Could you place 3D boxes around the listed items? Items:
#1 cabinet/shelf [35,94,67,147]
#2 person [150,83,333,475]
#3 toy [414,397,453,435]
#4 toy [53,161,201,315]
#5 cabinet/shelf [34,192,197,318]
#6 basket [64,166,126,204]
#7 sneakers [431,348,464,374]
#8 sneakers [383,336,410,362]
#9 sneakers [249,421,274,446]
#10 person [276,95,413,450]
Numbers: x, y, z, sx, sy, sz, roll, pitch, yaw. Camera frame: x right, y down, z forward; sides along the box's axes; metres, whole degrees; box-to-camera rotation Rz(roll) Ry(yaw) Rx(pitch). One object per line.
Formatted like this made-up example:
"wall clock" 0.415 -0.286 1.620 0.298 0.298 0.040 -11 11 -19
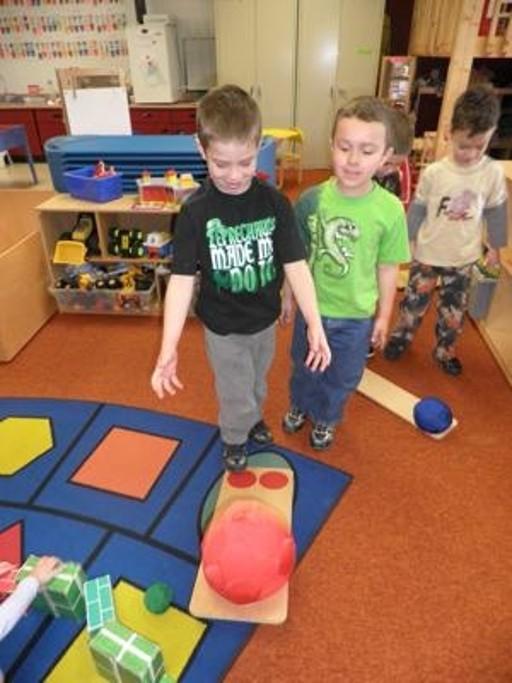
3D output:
"cabinet/shelf" -2.422 -2.574 5.869 0.328 0.493 0.590 -14 36 -19
"person" -0.067 -0.061 1.399 0.494 1.159 0.326 -11 34 -15
"toy" 0.681 0.299 1.919 0.147 0.134 0.111 17 37 25
"toy" -0.659 -0.529 2.446 0.765 0.555 0.416 1 37 1
"cabinet/shelf" -0.766 -0.467 2.713 0.686 0.625 0.242 3 34 10
"basket" -0.845 -0.804 2.628 0.271 0.136 0.188 15 41 25
"sneakers" 0.897 0.104 2.310 0.065 0.057 0.139 -24 50 -4
"sneakers" 0.666 0.038 2.380 0.063 0.068 0.152 18 33 19
"sneakers" 0.022 0.347 1.870 0.050 0.053 0.120 -3 7 -8
"person" 0.262 -0.160 1.585 0.392 1.096 0.283 4 29 3
